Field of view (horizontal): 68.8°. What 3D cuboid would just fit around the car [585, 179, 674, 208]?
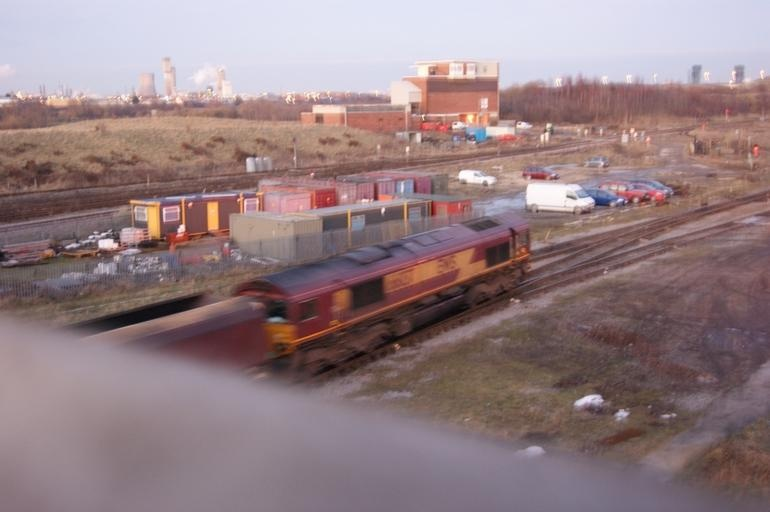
[{"bbox_3d":[24.395,-6.112,55.336,7.797,1.858,3.589,-5,13,-7],"label":"car"}]

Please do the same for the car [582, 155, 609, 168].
[{"bbox_3d":[29.115,-12.968,77.589,2.777,1.318,1.841,7,14,29],"label":"car"}]

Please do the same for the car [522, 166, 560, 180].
[{"bbox_3d":[19.009,-10.088,69.068,4.432,1.440,1.927,2,9,30],"label":"car"}]

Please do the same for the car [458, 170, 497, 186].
[{"bbox_3d":[11.154,-9.374,67.488,4.289,1.476,2.005,6,15,31],"label":"car"}]

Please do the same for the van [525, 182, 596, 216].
[{"bbox_3d":[15.250,-5.137,51.777,5.920,2.713,2.585,1,6,-8],"label":"van"}]
